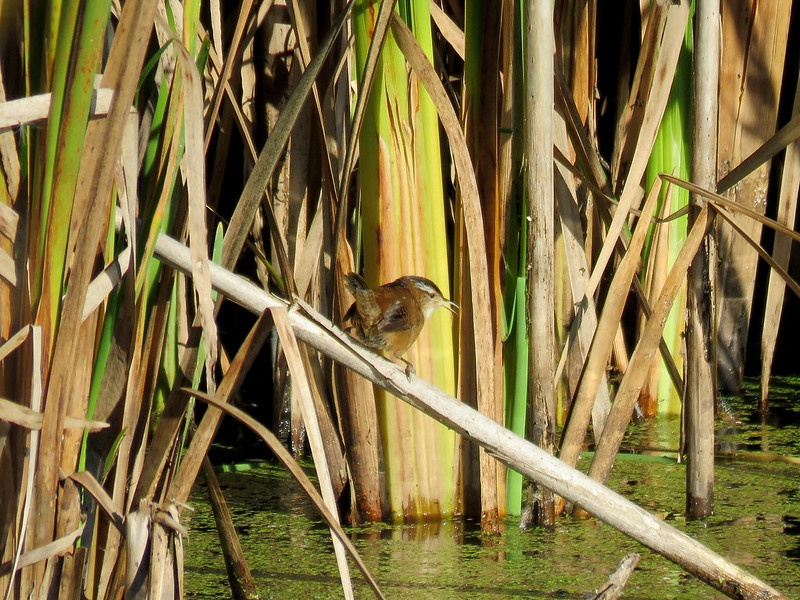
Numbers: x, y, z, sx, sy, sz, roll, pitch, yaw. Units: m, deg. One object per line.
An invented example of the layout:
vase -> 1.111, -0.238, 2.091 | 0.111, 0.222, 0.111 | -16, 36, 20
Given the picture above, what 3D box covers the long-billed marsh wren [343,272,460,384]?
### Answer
long-billed marsh wren -> -0.022, 0.060, 5.584 | 0.453, 0.398, 0.276 | -2, 24, -34
